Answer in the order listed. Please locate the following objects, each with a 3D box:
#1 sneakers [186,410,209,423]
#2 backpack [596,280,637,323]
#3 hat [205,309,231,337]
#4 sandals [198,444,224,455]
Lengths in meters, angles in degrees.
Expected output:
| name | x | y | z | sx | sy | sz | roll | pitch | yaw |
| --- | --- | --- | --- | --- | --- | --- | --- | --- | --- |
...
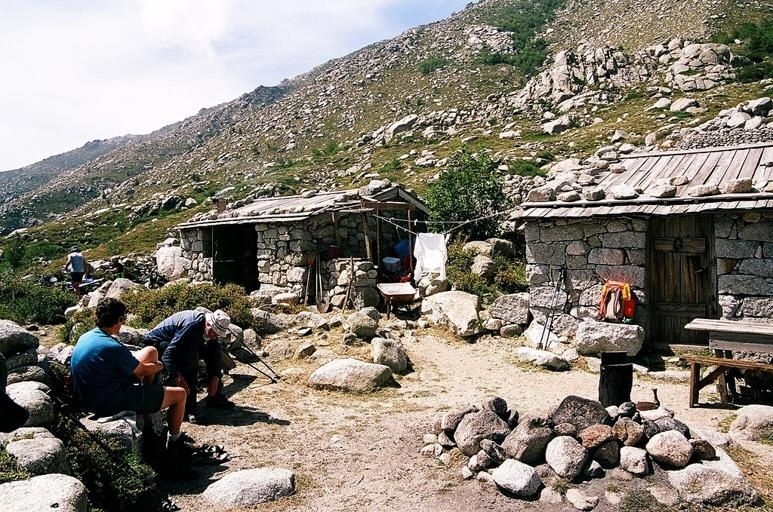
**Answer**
| name | x | y | z | sx | sy | sz | roll | pitch | yaw |
| --- | --- | --- | --- | --- | --- | --- | --- | --- | --- |
| sneakers | -3.774 | 3.214 | 12.558 | 0.488 | 0.189 | 0.177 | -1 | 0 | 5 |
| backpack | 5.762 | 1.151 | 15.809 | 0.515 | 1.001 | 0.667 | -4 | 3 | -29 |
| hat | -3.349 | 1.327 | 12.483 | 0.277 | 0.520 | 0.476 | -33 | -2 | 34 |
| sandals | -3.261 | 3.592 | 11.732 | 0.492 | 0.184 | 0.161 | -2 | 0 | 9 |
